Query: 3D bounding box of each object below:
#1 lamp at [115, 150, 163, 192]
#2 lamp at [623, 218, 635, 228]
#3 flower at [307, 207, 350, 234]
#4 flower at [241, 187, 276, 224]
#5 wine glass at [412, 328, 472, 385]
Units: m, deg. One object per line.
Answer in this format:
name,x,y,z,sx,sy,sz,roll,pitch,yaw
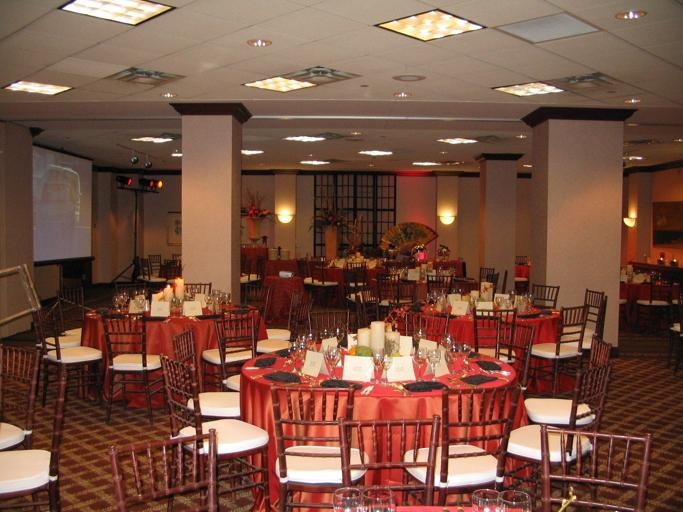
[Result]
lamp,-5.457,-2.191,15.344,1.336,0.808,4.223,-1,2,-20
lamp,7.689,-0.911,15.169,0.304,0.185,0.303,0,9,-5
flower,-0.363,-1.102,16.626,1.164,0.689,1.093,0,2,-1
flower,-1.990,-1.111,13.213,0.617,0.588,0.404,2,11,-7
wine glass,0.775,0.802,4.437,0.422,0.154,0.334,1,2,44
